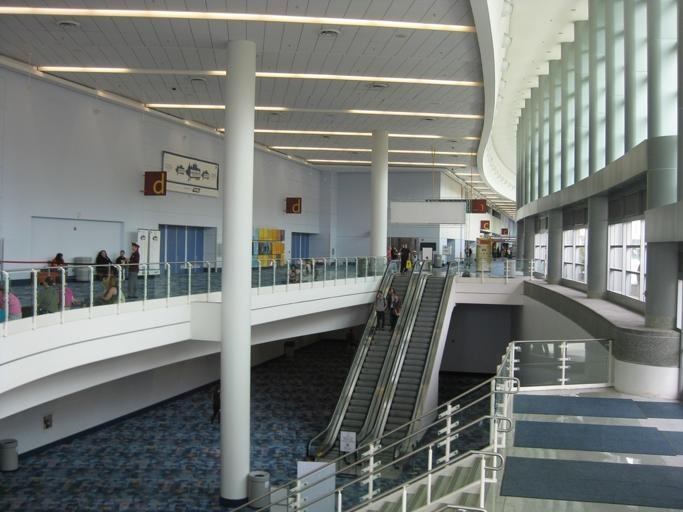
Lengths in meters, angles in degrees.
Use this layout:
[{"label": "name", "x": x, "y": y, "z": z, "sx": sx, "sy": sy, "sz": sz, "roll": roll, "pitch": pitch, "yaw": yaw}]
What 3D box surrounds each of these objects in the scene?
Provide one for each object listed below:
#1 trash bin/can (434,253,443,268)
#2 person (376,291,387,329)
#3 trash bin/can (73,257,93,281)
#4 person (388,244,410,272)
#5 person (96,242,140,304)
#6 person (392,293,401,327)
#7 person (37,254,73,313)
[{"label": "trash bin/can", "x": 5.100, "y": 0.205, "z": 26.933, "sx": 0.442, "sy": 0.846, "sz": 0.449, "roll": 2, "pitch": -1, "yaw": -7}, {"label": "person", "x": 1.507, "y": 2.114, "z": 19.710, "sx": 0.420, "sy": 1.396, "sz": 0.594, "roll": 6, "pitch": 8, "yaw": 8}, {"label": "trash bin/can", "x": -6.532, "y": 0.292, "z": 12.762, "sx": 0.317, "sy": 0.443, "sz": 0.318, "roll": 2, "pitch": 0, "yaw": 6}, {"label": "person", "x": 2.815, "y": 0.062, "z": 24.648, "sx": 1.000, "sy": 1.202, "sz": 2.692, "roll": 6, "pitch": 9, "yaw": 8}, {"label": "person", "x": -5.796, "y": 0.414, "z": 13.066, "sx": 0.581, "sy": 0.947, "sz": 1.510, "roll": 3, "pitch": 2, "yaw": 7}, {"label": "person", "x": 2.104, "y": 2.095, "z": 19.864, "sx": 0.331, "sy": 1.215, "sz": 0.874, "roll": 6, "pitch": 8, "yaw": 6}, {"label": "person", "x": -5.695, "y": 0.646, "z": 10.029, "sx": 0.358, "sy": 1.026, "sz": 1.081, "roll": 4, "pitch": 9, "yaw": -6}]
